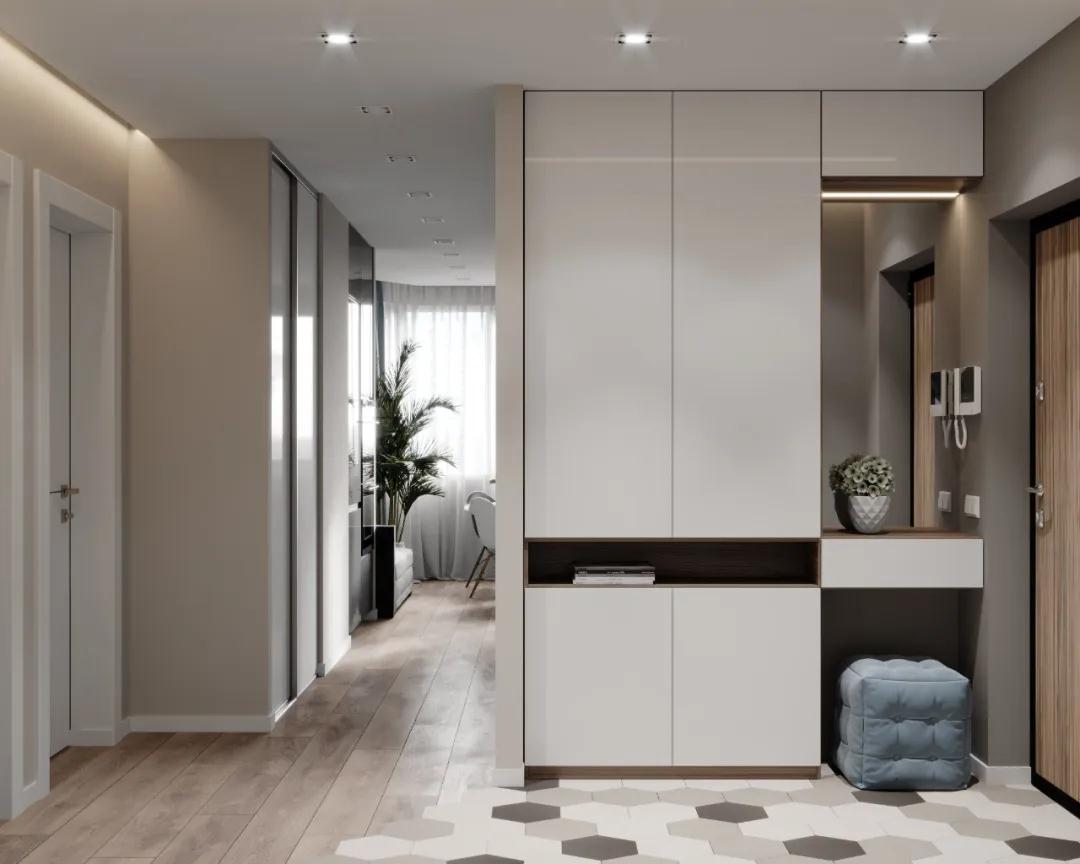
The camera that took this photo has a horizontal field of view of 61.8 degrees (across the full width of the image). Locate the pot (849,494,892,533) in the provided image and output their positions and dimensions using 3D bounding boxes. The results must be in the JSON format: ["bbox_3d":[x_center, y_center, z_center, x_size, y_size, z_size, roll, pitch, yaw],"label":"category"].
[{"bbox_3d":[1.589,0.387,4.346,0.169,0.165,0.176,0,-5,0],"label":"pot"}]

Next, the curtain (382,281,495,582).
[{"bbox_3d":[-0.982,0.060,8.577,1.766,2.859,0.163,0,-2,1],"label":"curtain"}]

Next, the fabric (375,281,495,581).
[{"bbox_3d":[-0.979,-0.022,8.943,1.004,2.872,0.367,-1,4,-17],"label":"fabric"}]

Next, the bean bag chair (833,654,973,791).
[{"bbox_3d":[1.716,1.359,4.346,0.507,0.536,0.565,0,-9,2],"label":"bean bag chair"}]

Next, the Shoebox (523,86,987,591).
[{"bbox_3d":[0.977,-0.451,4.320,2.054,2.326,0.227,1,-1,-3],"label":"Shoebox"}]
